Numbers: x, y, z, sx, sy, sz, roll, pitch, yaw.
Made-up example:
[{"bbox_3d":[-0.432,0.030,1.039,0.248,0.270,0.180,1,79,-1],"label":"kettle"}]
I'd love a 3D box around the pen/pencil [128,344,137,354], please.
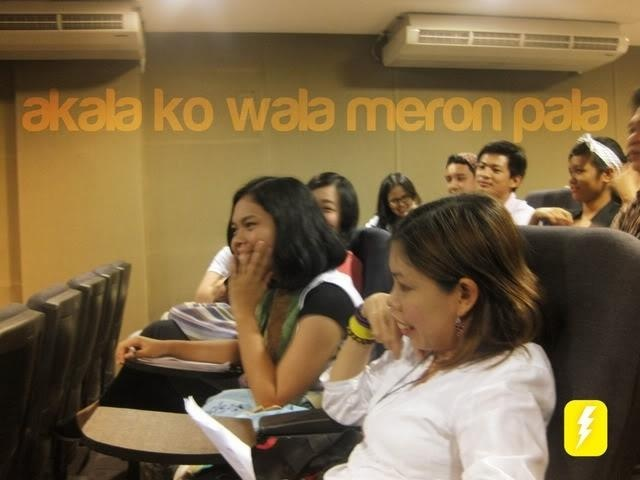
[{"bbox_3d":[-0.688,0.404,2.085,0.022,0.029,0.011,-4,-16,-25],"label":"pen/pencil"}]
